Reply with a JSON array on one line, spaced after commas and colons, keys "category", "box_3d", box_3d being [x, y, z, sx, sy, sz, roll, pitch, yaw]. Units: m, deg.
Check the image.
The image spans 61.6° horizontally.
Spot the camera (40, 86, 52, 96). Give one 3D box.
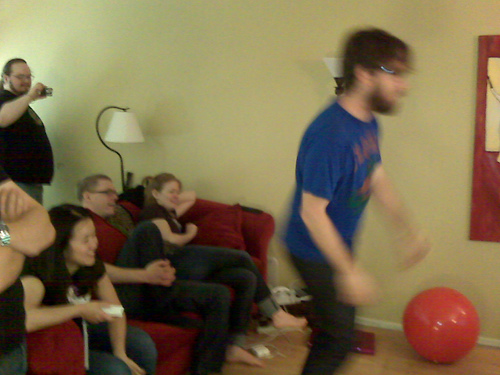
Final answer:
[{"category": "camera", "box_3d": [-0.310, -0.148, 0.645, 0.013, 0.011, 0.023, 3, 8, 27]}]

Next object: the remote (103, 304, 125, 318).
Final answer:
[{"category": "remote", "box_3d": [-0.259, 0.237, 0.801, 0.036, 0.019, 0.013, 10, -17, -20]}]

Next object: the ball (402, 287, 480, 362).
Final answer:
[{"category": "ball", "box_3d": [0.567, 0.418, 1.436, 0.256, 0.266, 0.238, 1, 25, 0]}]
